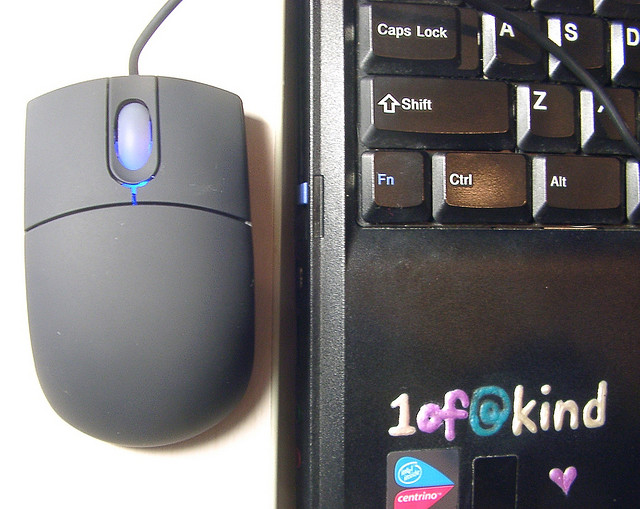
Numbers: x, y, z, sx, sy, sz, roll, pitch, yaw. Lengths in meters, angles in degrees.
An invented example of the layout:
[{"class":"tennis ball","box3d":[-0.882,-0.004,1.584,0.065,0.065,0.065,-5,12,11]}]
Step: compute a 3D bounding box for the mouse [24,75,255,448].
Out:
[{"class":"mouse","box3d":[-0.110,0.002,0.401,0.144,0.210,0.096,-8,20,-5]}]
